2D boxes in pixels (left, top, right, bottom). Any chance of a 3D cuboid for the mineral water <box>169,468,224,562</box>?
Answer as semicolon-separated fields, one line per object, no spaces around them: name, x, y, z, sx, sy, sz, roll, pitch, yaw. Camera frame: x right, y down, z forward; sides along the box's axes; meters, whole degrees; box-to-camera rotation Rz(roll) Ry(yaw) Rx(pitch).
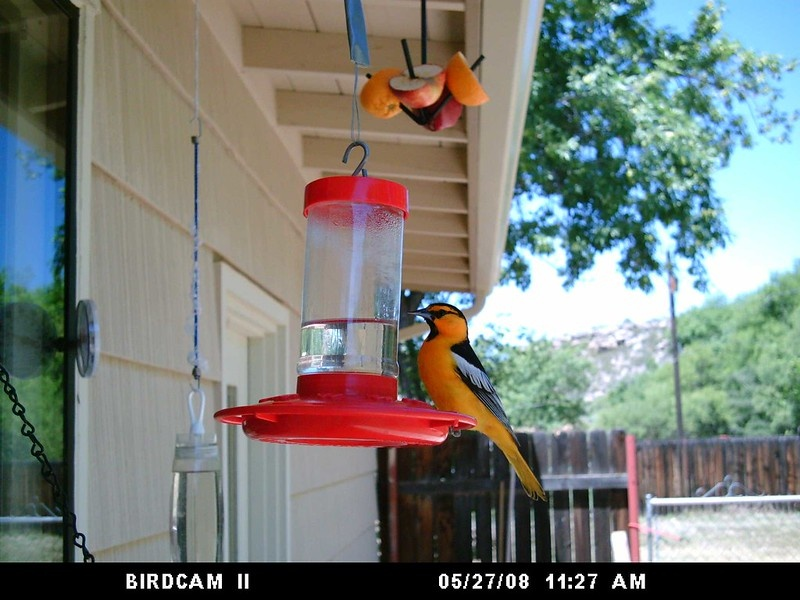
mineral water;-0.757;0.787;4.356;0.129;0.397;0.150;0;-9;5

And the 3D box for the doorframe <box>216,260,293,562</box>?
doorframe;-0.806;0.699;6.489;0.241;1.362;0.611;0;-4;-7

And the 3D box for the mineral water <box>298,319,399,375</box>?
mineral water;-0.253;0.175;4.659;0.426;0.203;0.440;-6;-1;7

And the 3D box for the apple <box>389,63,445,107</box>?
apple;0.064;-0.805;4.462;0.165;0.168;0.099;30;-22;37

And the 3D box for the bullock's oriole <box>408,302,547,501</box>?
bullock's oriole;0.351;0.458;5.547;0.745;0.811;0.259;12;-13;-23
